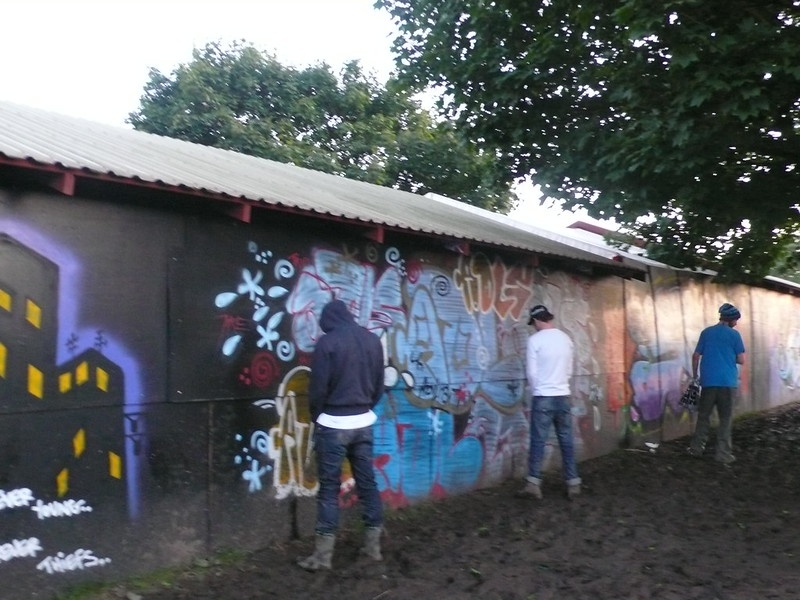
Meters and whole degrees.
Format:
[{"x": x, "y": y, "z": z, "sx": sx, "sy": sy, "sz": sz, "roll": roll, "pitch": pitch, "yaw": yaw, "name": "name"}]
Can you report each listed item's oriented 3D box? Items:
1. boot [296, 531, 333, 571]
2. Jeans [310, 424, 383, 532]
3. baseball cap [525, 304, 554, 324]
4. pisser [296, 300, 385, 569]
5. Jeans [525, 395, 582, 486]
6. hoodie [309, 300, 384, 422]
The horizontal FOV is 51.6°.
[{"x": -0.748, "y": 2.376, "z": 7.693, "sx": 0.492, "sy": 0.381, "sz": 0.225, "roll": 1, "pitch": -11, "yaw": 5, "name": "boot"}, {"x": -0.532, "y": 1.686, "z": 7.980, "sx": 0.758, "sy": 1.086, "sz": 0.390, "roll": 3, "pitch": -7, "yaw": -37, "name": "Jeans"}, {"x": 1.747, "y": 0.161, "z": 10.004, "sx": 0.339, "sy": 0.165, "sz": 0.232, "roll": 2, "pitch": -4, "yaw": -31, "name": "baseball cap"}, {"x": -0.631, "y": 1.290, "z": 8.075, "sx": 0.809, "sy": 2.500, "sz": 1.018, "roll": -7, "pitch": -11, "yaw": 42, "name": "pisser"}, {"x": 1.879, "y": 1.658, "z": 10.022, "sx": 0.372, "sy": 1.022, "sz": 0.673, "roll": 1, "pitch": -6, "yaw": -26, "name": "Jeans"}, {"x": -0.536, "y": 0.654, "z": 8.133, "sx": 0.879, "sy": 1.159, "sz": 0.681, "roll": -1, "pitch": 5, "yaw": -37, "name": "hoodie"}]
